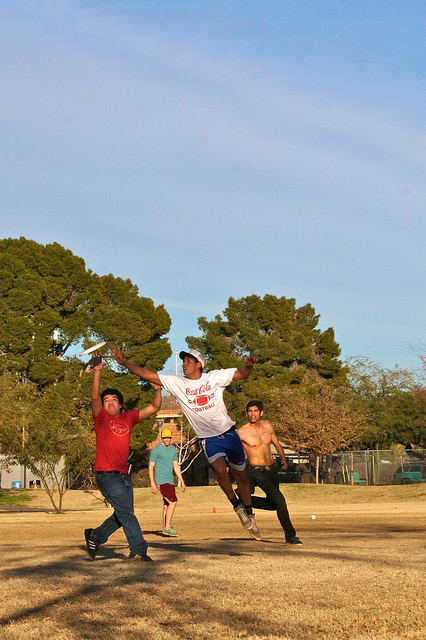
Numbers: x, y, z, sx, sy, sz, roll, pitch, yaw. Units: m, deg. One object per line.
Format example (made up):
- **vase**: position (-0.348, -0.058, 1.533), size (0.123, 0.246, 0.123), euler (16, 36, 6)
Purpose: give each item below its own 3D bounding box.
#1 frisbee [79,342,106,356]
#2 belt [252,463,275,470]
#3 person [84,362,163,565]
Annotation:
- **frisbee**: position (-1.172, 0.302, 8.051), size (0.226, 0.045, 0.223), euler (-23, -3, 20)
- **belt**: position (0.694, 1.997, 11.183), size (0.322, 0.063, 0.109), euler (5, -9, -31)
- **person**: position (-0.935, 1.479, 8.591), size (0.723, 2.042, 1.015), euler (1, -7, -8)
